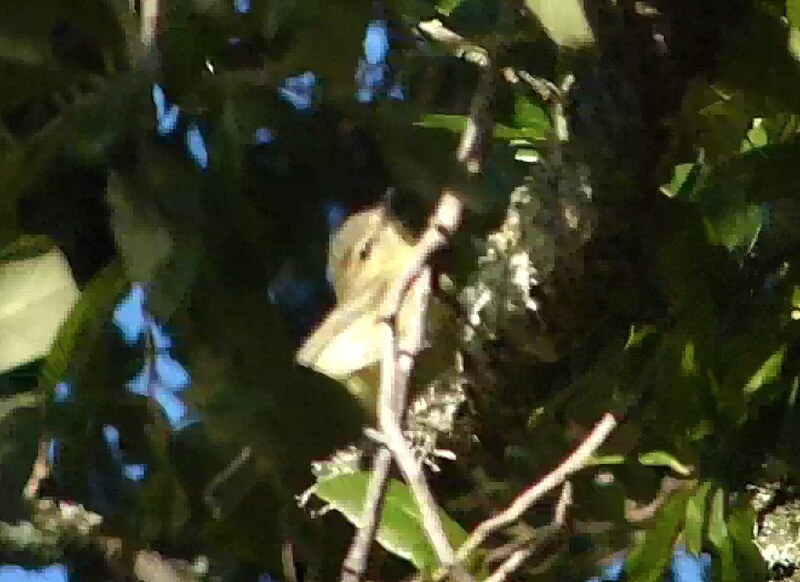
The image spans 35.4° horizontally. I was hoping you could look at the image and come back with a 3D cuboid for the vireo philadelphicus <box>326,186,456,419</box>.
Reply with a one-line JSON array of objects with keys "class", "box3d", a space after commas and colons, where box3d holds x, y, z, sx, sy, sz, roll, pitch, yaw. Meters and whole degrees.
[{"class": "vireo philadelphicus", "box3d": [-0.024, 0.042, 4.444, 0.456, 0.776, 0.253, -8, -6, 25]}]
